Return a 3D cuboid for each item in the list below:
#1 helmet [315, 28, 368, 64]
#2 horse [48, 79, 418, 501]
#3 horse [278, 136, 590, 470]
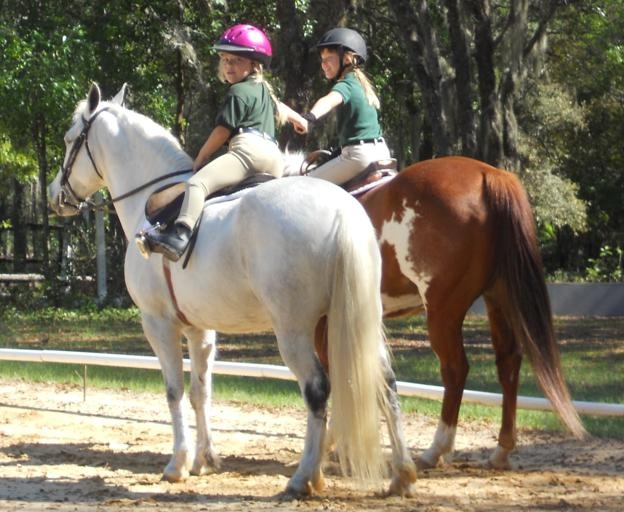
[{"bbox_3d":[0.505,-3.438,18.113,0.607,0.387,0.493,19,-18,-22],"label":"helmet"},{"bbox_3d":[-1.125,0.633,18.397,6.224,6.929,2.229,2,1,30],"label":"horse"},{"bbox_3d":[1.253,0.546,19.658,1.818,5.874,7.464,-12,8,-36],"label":"horse"}]
